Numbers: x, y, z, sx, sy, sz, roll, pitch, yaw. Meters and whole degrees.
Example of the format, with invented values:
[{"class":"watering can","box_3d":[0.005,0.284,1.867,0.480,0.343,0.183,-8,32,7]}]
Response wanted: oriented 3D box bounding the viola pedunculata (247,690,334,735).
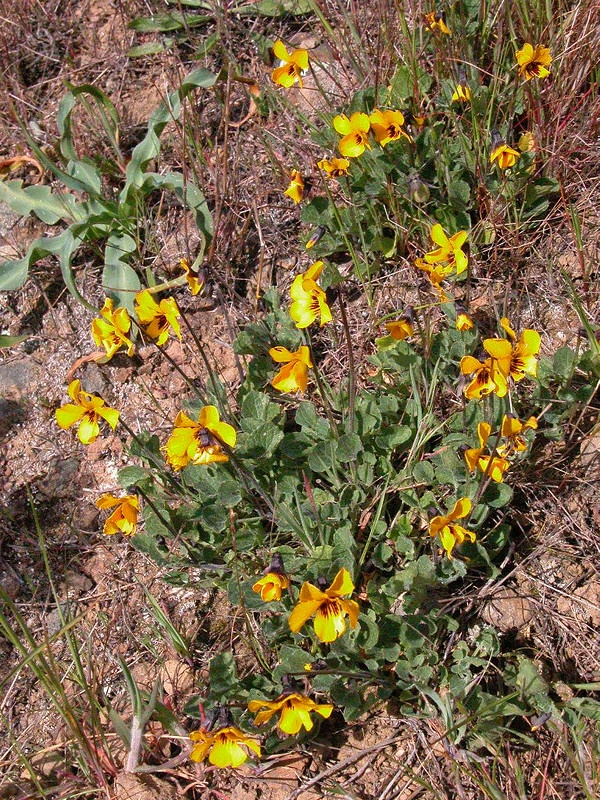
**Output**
[{"class":"viola pedunculata","box_3d":[-0.012,0.805,1.861,0.196,0.209,0.093,-13,69,2]}]
